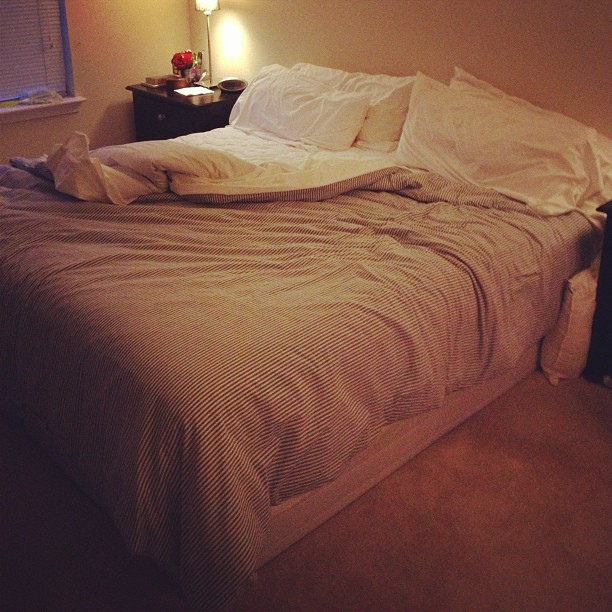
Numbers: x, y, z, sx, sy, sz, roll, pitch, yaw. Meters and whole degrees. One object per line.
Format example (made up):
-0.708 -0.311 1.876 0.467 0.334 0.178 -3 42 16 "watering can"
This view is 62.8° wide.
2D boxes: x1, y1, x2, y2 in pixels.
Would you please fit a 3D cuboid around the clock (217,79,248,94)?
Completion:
-0.472 -1.390 3.180 0.116 0.049 0.129 15 31 30 "clock"
